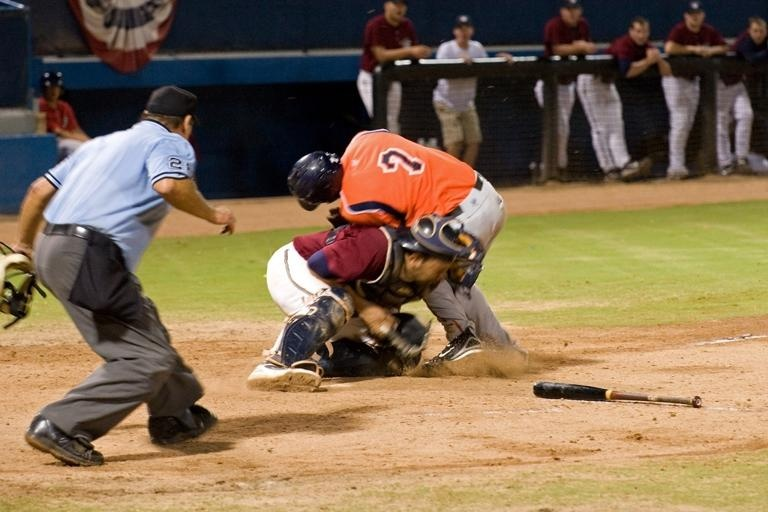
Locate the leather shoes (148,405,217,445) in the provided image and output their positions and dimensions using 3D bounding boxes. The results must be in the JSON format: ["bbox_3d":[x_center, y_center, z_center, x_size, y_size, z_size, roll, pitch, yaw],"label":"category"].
[{"bbox_3d":[-1.245,1.059,7.191,0.413,0.146,0.188,-18,33,-13],"label":"leather shoes"}]

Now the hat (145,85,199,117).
[{"bbox_3d":[-1.280,-0.952,7.113,0.218,0.120,0.277,17,21,29],"label":"hat"}]

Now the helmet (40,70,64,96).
[{"bbox_3d":[-3.775,-2.012,13.409,0.299,0.231,0.356,-2,-3,-13],"label":"helmet"}]

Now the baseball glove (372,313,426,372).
[{"bbox_3d":[0.164,0.609,8.163,0.490,0.322,0.347,7,17,19],"label":"baseball glove"}]

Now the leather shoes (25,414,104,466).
[{"bbox_3d":[-1.832,1.090,6.794,0.525,0.215,0.192,19,29,-22],"label":"leather shoes"}]

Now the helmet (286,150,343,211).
[{"bbox_3d":[-0.493,-0.523,7.964,0.384,0.368,0.331,14,9,-26],"label":"helmet"}]

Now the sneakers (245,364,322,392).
[{"bbox_3d":[-0.660,0.815,7.842,0.500,0.167,0.206,0,4,5],"label":"sneakers"}]

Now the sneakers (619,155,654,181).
[{"bbox_3d":[2.875,-1.004,13.390,0.392,0.199,0.144,-21,54,-14],"label":"sneakers"}]

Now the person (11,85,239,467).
[{"bbox_3d":[-1.558,0.095,6.956,1.155,2.217,0.602,-2,6,-10],"label":"person"}]
